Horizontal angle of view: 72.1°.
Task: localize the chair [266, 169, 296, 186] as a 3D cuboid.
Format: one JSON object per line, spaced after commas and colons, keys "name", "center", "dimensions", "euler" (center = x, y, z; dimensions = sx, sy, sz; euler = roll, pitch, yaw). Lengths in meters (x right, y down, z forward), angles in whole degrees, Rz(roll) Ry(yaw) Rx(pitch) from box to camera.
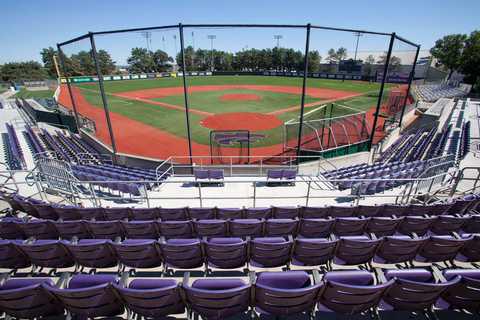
{"name": "chair", "center": [1.800, 0.786, 14.623], "dimensions": [1.192, 0.451, 0.352], "euler": [0, 30, 2]}
